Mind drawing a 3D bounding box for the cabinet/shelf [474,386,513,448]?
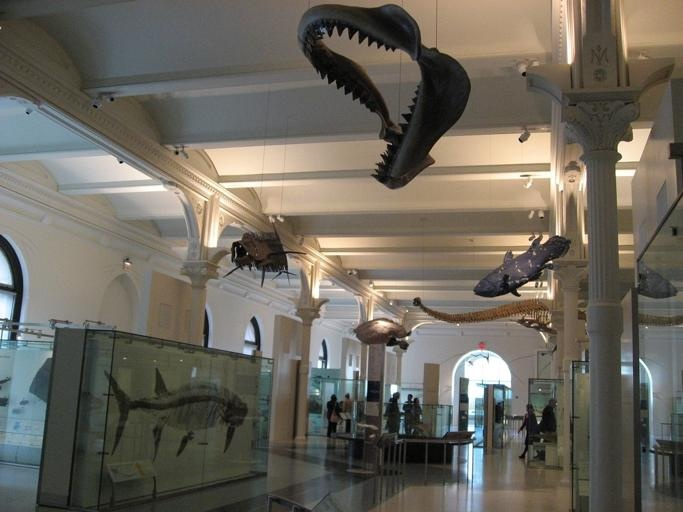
[{"bbox_3d":[6.217,6.616,24.452,1.375,3.571,4.042,-1,-9,14],"label":"cabinet/shelf"}]

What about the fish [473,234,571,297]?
[{"bbox_3d":[4.299,0.137,14.228,2.244,1.115,0.684,-35,8,26],"label":"fish"}]

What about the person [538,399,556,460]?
[{"bbox_3d":[5.700,4.523,16.273,0.406,1.124,1.036,-1,-16,14],"label":"person"}]

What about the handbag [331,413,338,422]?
[{"bbox_3d":[-0.250,5.625,20.612,0.264,0.323,0.181,4,11,19],"label":"handbag"}]

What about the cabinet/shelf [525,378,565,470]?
[{"bbox_3d":[5.989,4.896,16.609,1.015,1.784,0.967,-15,3,-32],"label":"cabinet/shelf"}]

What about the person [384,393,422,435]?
[{"bbox_3d":[1.840,4.709,17.540,1.072,1.084,0.601,0,-16,8],"label":"person"}]
